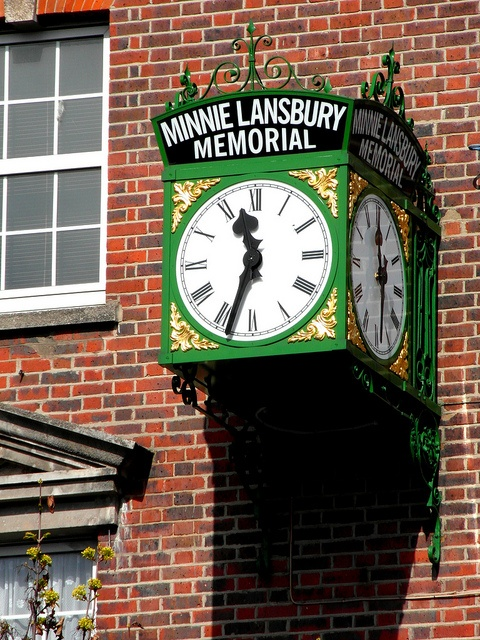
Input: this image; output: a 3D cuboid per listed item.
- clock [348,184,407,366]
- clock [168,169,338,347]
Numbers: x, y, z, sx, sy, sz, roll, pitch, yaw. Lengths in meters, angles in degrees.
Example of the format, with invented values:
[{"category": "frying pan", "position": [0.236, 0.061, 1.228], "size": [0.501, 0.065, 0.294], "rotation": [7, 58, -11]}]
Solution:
[{"category": "clock", "position": [0.755, -0.235, 14.545], "size": [0.044, 0.886, 0.771], "rotation": [-5, -13, 23]}, {"category": "clock", "position": [0.097, -0.314, 14.326], "size": [0.777, 0.984, 0.067], "rotation": [2, -20, 17]}]
